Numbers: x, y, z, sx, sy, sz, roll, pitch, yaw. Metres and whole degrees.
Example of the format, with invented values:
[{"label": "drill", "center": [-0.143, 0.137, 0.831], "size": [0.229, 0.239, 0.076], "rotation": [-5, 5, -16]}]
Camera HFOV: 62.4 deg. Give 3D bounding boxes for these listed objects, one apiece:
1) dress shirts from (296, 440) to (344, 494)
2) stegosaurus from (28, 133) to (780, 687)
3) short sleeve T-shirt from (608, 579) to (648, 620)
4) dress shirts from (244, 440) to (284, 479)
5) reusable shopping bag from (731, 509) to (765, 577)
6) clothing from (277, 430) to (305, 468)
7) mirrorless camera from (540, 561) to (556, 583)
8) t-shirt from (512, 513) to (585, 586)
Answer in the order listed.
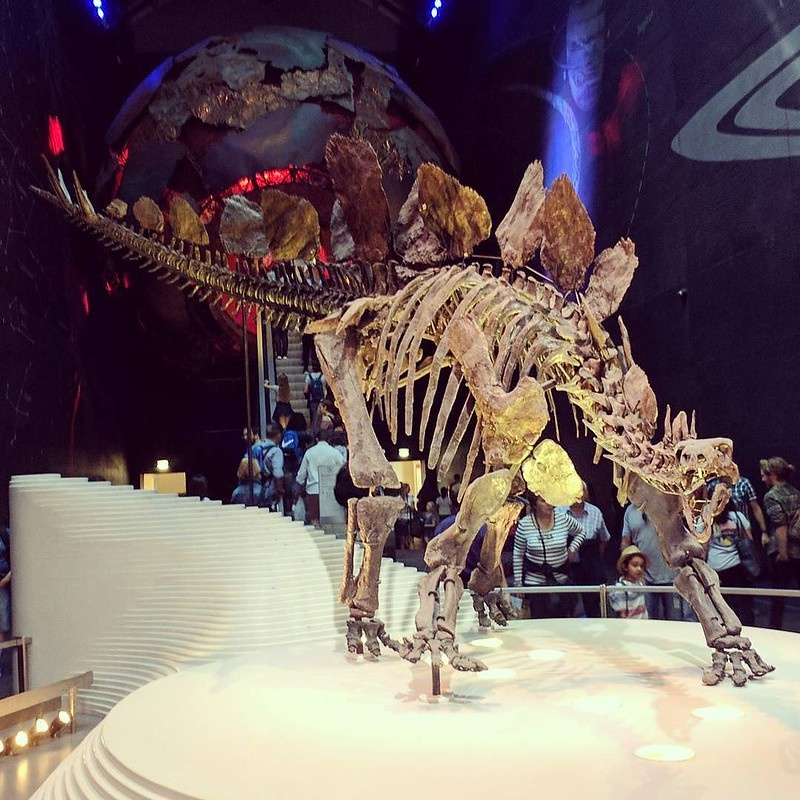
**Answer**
[{"label": "dress shirts", "center": [-0.646, 0.559, 5.897], "size": [0.498, 0.678, 0.350], "rotation": [1, -6, 0]}, {"label": "stegosaurus", "center": [-0.197, -0.186, 4.680], "size": [4.658, 1.846, 3.743], "rotation": [8, -49, 0]}, {"label": "short sleeve T-shirt", "center": [1.712, 1.497, 4.949], "size": [0.274, 0.406, 0.189], "rotation": [-1, -1, -6]}, {"label": "dress shirts", "center": [-1.240, 0.551, 6.052], "size": [0.244, 0.317, 0.142], "rotation": [9, 25, 44]}, {"label": "reusable shopping bag", "center": [2.688, 1.098, 5.157], "size": [0.080, 0.533, 0.131], "rotation": [-2, -17, 9]}, {"label": "clothing", "center": [-1.036, 0.438, 6.350], "size": [0.170, 0.344, 0.339], "rotation": [2, -45, 1]}, {"label": "mirrorless camera", "center": [1.161, 1.334, 5.161], "size": [0.114, 0.261, 0.094], "rotation": [-3, 10, 1]}, {"label": "t-shirt", "center": [1.179, 1.167, 5.190], "size": [0.495, 0.678, 0.311], "rotation": [-6, 11, 7]}]
